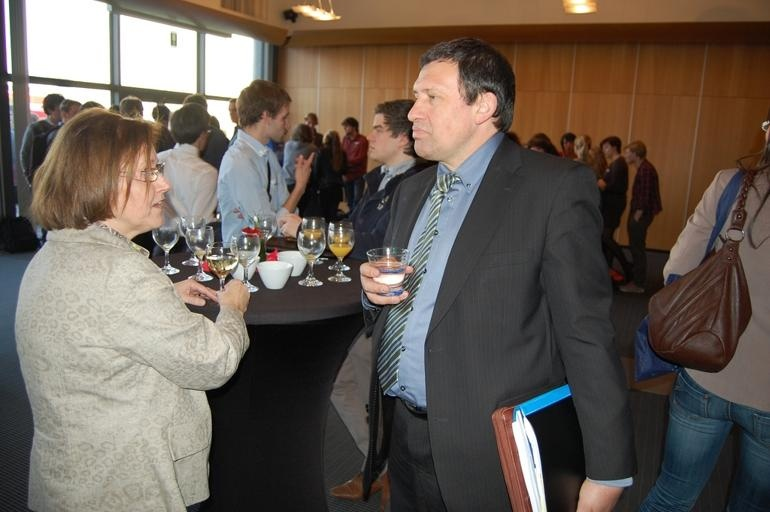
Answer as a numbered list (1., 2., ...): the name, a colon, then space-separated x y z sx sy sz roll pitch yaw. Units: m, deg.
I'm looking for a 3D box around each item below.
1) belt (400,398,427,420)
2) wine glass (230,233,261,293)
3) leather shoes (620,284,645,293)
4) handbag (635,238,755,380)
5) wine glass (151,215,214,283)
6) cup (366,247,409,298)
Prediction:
1. belt: 0.103 0.531 1.837 0.044 0.020 0.072 17 1 -34
2. wine glass: -0.597 0.022 2.246 0.108 0.251 0.110 -1 15 -25
3. leather shoes: 2.823 0.374 6.004 0.216 0.097 0.120 -1 7 19
4. handbag: 1.178 0.184 1.954 0.338 0.468 0.134 2 13 3
5. wine glass: -0.928 -0.035 2.414 0.333 0.281 0.168 5 5 15
6. cup: 0.019 0.066 1.830 0.136 0.172 0.151 -2 -6 -1
